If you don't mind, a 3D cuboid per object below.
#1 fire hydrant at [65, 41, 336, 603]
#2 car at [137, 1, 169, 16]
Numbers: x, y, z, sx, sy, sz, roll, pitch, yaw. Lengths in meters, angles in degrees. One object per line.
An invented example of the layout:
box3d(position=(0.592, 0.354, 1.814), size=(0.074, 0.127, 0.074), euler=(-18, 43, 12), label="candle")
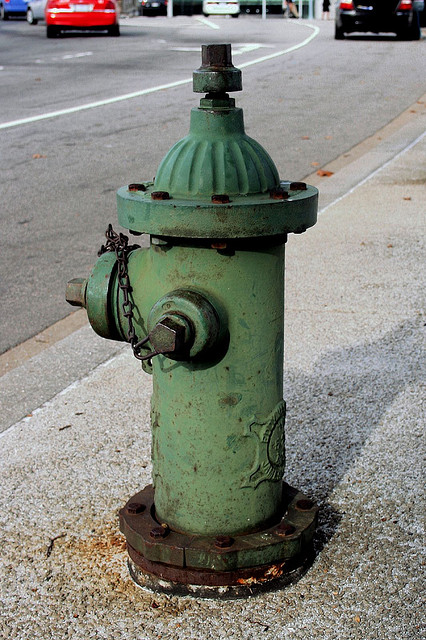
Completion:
box3d(position=(-0.024, 0.026, 2.603), size=(0.737, 1.536, 0.541), euler=(-1, 21, 7), label="fire hydrant")
box3d(position=(-2.602, -13.948, 40.791), size=(1.084, 0.654, 1.681), euler=(14, 25, 39), label="car")
